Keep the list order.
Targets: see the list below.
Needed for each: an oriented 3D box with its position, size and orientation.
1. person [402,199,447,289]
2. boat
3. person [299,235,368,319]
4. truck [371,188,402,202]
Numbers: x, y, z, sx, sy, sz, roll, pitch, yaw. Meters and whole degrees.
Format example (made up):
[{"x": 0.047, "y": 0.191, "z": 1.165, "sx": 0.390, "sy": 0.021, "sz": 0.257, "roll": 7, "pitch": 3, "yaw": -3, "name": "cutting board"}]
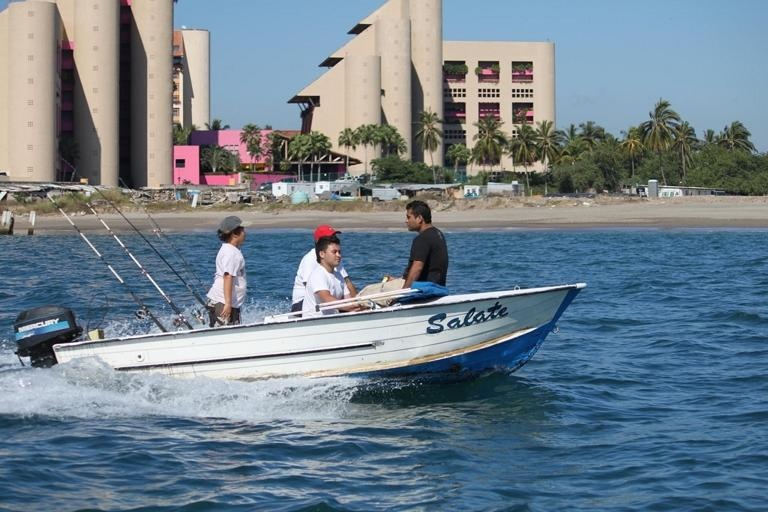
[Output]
[{"x": 0.824, "y": -0.251, "z": 24.076, "sx": 0.891, "sy": 1.770, "sz": 0.893, "roll": -1, "pitch": 3, "yaw": 3, "name": "person"}, {"x": -1.257, "y": 1.640, "z": 23.929, "sx": 10.654, "sy": 1.932, "sz": 0.679, "roll": -1, "pitch": 3, "yaw": -3, "name": "boat"}, {"x": -1.140, "y": 0.416, "z": 23.699, "sx": 1.130, "sy": 1.667, "sz": 0.667, "roll": -1, "pitch": 3, "yaw": -4, "name": "person"}, {"x": 0.031, "y": -4.361, "z": 82.579, "sx": 1.774, "sy": 0.788, "sz": 1.075, "roll": -1, "pitch": 4, "yaw": -3, "name": "truck"}]
